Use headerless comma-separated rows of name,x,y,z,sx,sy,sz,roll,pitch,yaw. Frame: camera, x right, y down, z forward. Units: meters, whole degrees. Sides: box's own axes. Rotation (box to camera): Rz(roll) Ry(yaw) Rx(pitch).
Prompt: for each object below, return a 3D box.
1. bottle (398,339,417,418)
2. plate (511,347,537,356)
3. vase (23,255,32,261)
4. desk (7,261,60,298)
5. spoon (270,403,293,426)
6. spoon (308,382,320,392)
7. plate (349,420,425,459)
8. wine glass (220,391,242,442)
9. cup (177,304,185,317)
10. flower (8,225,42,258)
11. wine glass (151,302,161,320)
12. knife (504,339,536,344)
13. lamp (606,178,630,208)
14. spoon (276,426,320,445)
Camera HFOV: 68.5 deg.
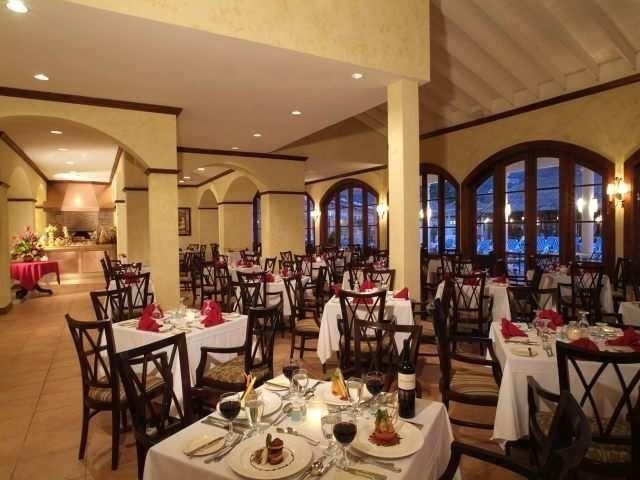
bottle,0.608,0.964,3.303,0.122,0.521,0.273,-1,0,10
plate,1.749,0.964,4.027,0.213,0.072,0.189,-2,-2,6
vase,-6.740,0.425,10.881,0.204,0.159,0.120,0,1,-3
desk,-6.830,0.881,11.389,1.089,0.927,1.121,6,8,-29
spoon,-0.252,1.209,3.241,0.090,0.138,0.228,-2,-1,25
spoon,-0.038,1.105,3.521,0.035,0.029,0.087,1,12,18
plate,0.403,1.270,3.037,0.351,0.045,0.383,5,15,26
wine glass,-0.588,1.177,3.111,0.148,0.294,0.146,-2,3,-33
cup,-1.474,0.767,5.109,0.097,0.155,0.102,0,-5,0
flower,-6.878,0.083,11.068,0.535,0.814,0.577,-2,-1,34
wine glass,-1.775,0.780,5.198,0.139,0.172,0.146,-1,3,-3
knife,1.798,0.918,4.228,0.292,0.022,0.092,0,6,-1
lamp,5.485,-0.866,8.634,0.183,0.704,0.474,-2,6,-14
spoon,-0.141,1.273,3.032,0.210,0.034,0.041,6,12,33
